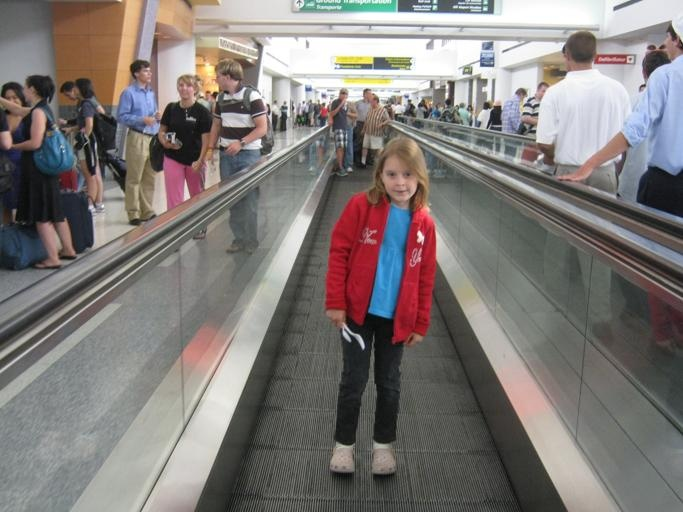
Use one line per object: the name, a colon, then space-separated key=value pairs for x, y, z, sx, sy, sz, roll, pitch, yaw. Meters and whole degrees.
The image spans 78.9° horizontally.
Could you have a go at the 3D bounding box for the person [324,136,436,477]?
person: x=0.180 y=0.257 z=1.899 sx=0.485 sy=1.533 sz=0.245 roll=1 pitch=11 yaw=-1

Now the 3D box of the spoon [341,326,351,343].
spoon: x=0.018 y=0.357 z=1.886 sx=0.025 sy=0.102 sz=0.017 roll=16 pitch=45 yaw=27

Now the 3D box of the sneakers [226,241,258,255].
sneakers: x=-0.592 y=-0.044 z=2.461 sx=0.069 sy=0.098 sz=0.205 roll=4 pitch=-2 yaw=39

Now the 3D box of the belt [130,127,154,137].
belt: x=-2.678 y=-1.669 z=5.627 sx=0.328 sy=0.084 sz=0.318 roll=5 pitch=20 yaw=-18

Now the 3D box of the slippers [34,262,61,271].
slippers: x=-3.035 y=0.117 z=4.297 sx=0.286 sy=0.083 sz=0.117 roll=6 pitch=3 yaw=-7

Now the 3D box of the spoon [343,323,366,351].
spoon: x=0.076 y=0.400 z=1.904 sx=0.055 sy=0.189 sz=0.076 roll=-29 pitch=43 yaw=3

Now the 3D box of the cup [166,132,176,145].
cup: x=-1.834 y=-1.255 z=4.504 sx=0.101 sy=0.107 sz=0.175 roll=3 pitch=7 yaw=-35

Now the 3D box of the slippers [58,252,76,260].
slippers: x=-3.082 y=0.012 z=4.667 sx=0.133 sy=0.056 sz=0.055 roll=9 pitch=10 yaw=1

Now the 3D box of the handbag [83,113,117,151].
handbag: x=-3.562 y=-1.809 z=6.093 sx=0.301 sy=0.559 sz=0.403 roll=-8 pitch=35 yaw=-13
